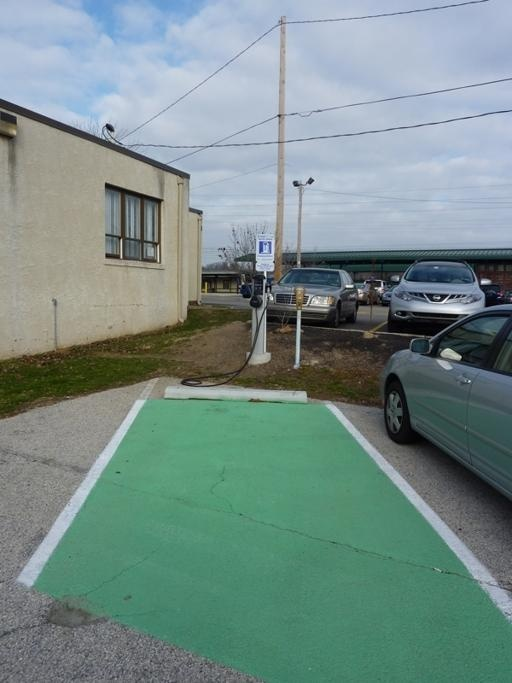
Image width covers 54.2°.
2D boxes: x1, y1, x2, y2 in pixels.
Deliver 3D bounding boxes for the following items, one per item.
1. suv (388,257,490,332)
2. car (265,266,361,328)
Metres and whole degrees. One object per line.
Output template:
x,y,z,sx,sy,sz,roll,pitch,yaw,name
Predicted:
4.095,-1.064,11.528,1.558,1.524,2.956,-1,3,21,suv
1.635,-1.206,12.935,1.146,0.979,2.818,2,2,19,car
